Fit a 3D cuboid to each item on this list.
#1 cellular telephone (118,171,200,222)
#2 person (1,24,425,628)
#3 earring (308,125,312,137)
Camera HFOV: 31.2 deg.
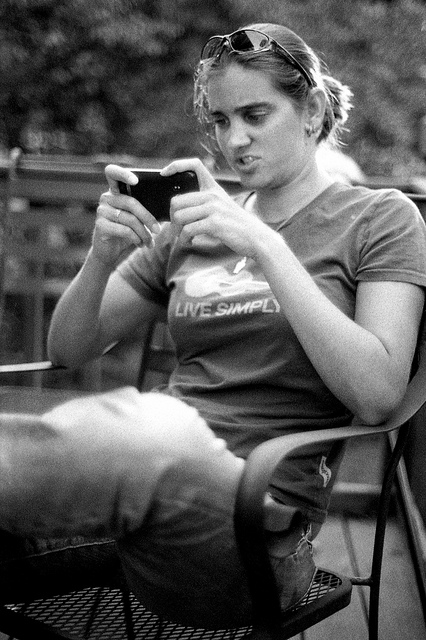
[{"bbox_3d":[-0.093,-0.212,1.350,0.133,0.079,0.155,1,4,-15],"label":"cellular telephone"},{"bbox_3d":[-0.032,-0.007,1.412,0.535,1.071,0.821,3,86,35],"label":"person"},{"bbox_3d":[0.171,-0.344,1.378,0.004,0.021,0.012,23,51,20],"label":"earring"}]
